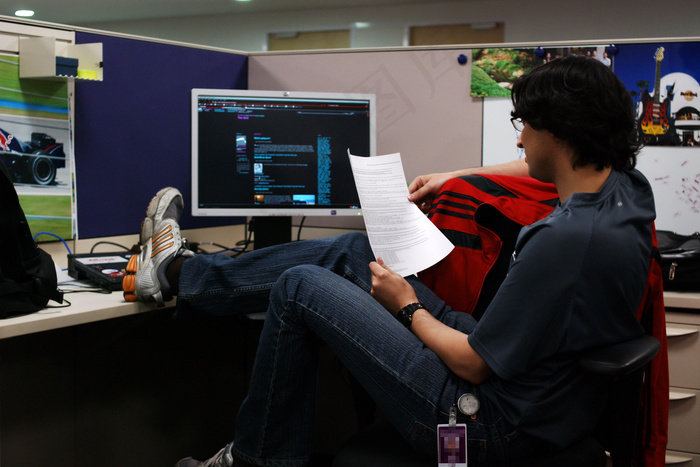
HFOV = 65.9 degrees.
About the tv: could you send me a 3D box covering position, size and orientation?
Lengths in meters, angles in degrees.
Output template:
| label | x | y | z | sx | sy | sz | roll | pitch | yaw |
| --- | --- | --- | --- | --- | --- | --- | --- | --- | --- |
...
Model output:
| label | x | y | z | sx | sy | sz | roll | pitch | yaw |
| --- | --- | --- | --- | --- | --- | --- | --- | --- | --- |
| tv | -0.261 | -0.271 | 2.091 | 0.703 | 0.511 | 0.187 | 0 | 0 | -6 |
